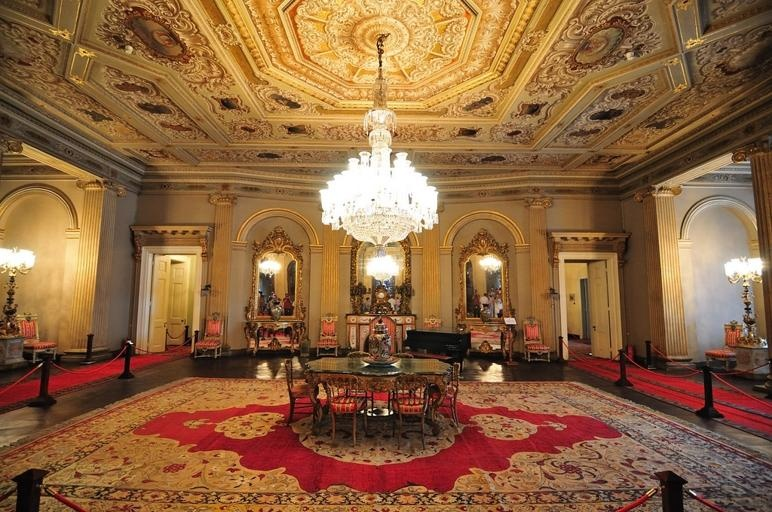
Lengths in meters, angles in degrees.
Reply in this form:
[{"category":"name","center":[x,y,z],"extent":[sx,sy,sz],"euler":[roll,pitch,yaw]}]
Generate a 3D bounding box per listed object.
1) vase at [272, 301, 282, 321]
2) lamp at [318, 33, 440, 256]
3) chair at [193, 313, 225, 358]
[{"category":"vase","center":[-3.536,1.794,13.858],"extent":[0.302,0.569,0.295],"euler":[10,17,33]},{"category":"lamp","center":[-0.119,-2.100,8.251],"extent":[2.185,4.147,1.193],"euler":[3,15,6]},{"category":"chair","center":[-5.401,2.447,12.983],"extent":[0.890,1.206,0.758],"euler":[0,14,-5]}]
